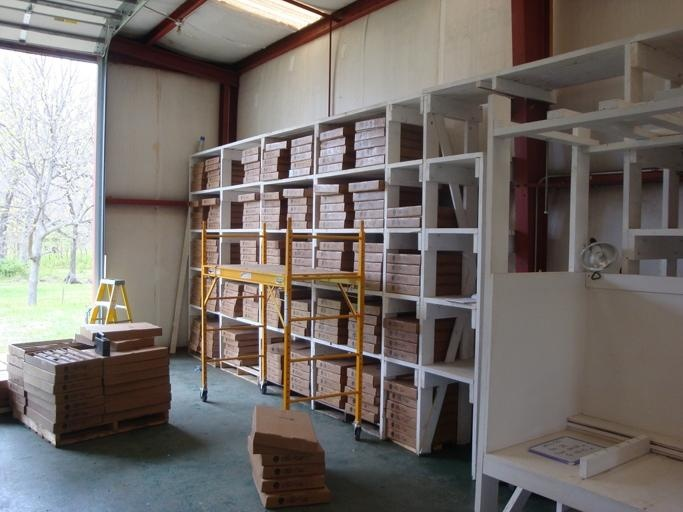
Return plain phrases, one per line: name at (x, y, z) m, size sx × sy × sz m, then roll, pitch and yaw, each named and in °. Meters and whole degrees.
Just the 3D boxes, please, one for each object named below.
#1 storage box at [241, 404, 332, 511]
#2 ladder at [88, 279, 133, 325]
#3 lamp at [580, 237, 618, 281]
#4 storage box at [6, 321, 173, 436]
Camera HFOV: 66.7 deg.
storage box at (-0.423, 1.570, 4.102) m, size 0.547 × 0.450 × 0.680 m, roll 0°, pitch 8°, yaw -15°
ladder at (-3.121, 0.688, 7.080) m, size 0.523 × 0.670 × 0.517 m, roll 1°, pitch 1°, yaw 40°
lamp at (1.509, 0.033, 3.077) m, size 0.182 × 0.209 × 0.224 m, roll 4°, pitch 5°, yaw 39°
storage box at (-2.571, 1.190, 5.381) m, size 1.095 × 0.941 × 1.524 m, roll 3°, pitch 2°, yaw 43°
